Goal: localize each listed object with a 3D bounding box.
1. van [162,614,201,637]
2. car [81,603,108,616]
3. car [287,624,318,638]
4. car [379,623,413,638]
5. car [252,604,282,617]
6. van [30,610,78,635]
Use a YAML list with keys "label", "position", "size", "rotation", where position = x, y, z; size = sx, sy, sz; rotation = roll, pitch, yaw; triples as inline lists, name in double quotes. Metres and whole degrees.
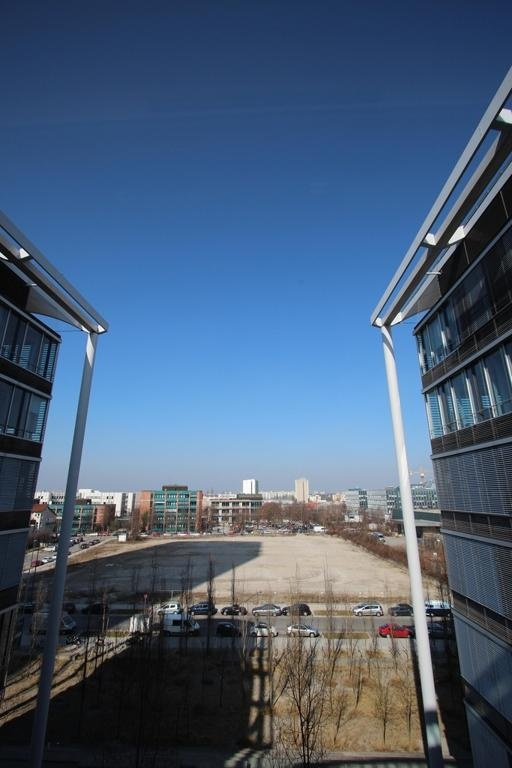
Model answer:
- label: "van"
  position: [-4.306, 13.447, 27.523]
  size: [1.995, 1.224, 1.759]
  rotation: [-4, -37, 4]
- label: "car"
  position: [-10.179, 13.995, 30.239]
  size: [1.166, 0.763, 7.136]
  rotation: [5, -22, -19]
- label: "car"
  position: [2.654, 13.282, 26.125]
  size: [1.771, 0.785, 1.179]
  rotation: [-1, -29, 3]
- label: "car"
  position: [7.726, 13.306, 26.143]
  size: [1.612, 0.674, 0.875]
  rotation: [-5, -14, 6]
- label: "car"
  position: [0.763, 14.473, 31.377]
  size: [1.654, 0.686, 1.065]
  rotation: [2, -33, 5]
- label: "van"
  position: [-12.082, 13.956, 28.689]
  size: [2.356, 1.278, 6.163]
  rotation: [6, -23, -23]
